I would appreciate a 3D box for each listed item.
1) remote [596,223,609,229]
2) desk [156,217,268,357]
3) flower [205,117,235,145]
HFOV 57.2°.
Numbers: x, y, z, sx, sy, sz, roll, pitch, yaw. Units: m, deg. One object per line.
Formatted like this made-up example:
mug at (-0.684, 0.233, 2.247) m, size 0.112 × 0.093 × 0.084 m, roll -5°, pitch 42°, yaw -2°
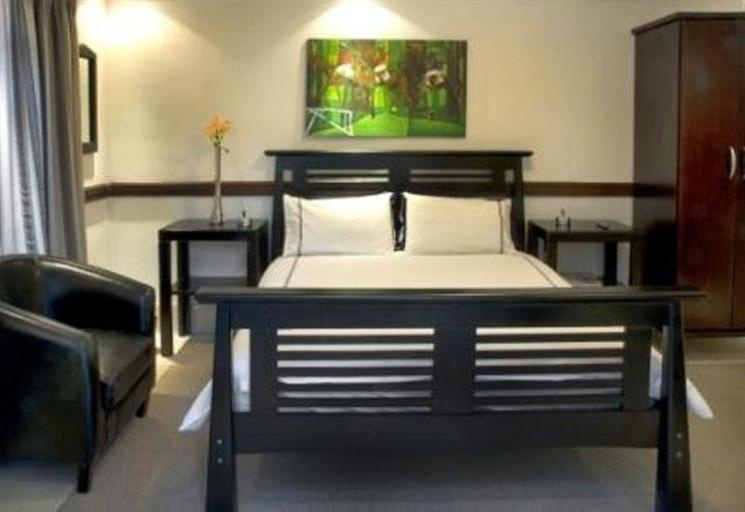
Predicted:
remote at (1.836, -0.245, 5.468) m, size 0.065 × 0.018 × 0.063 m, roll 2°, pitch 13°, yaw 4°
desk at (-1.003, 0.227, 5.487) m, size 1.047 × 1.325 × 0.937 m, roll 0°, pitch 3°, yaw -5°
flower at (-1.210, -1.022, 5.429) m, size 0.242 × 0.267 × 0.252 m, roll 4°, pitch 20°, yaw 5°
